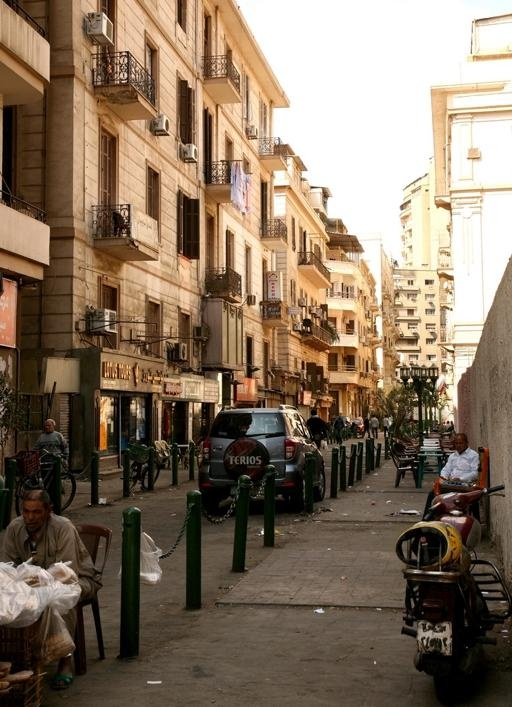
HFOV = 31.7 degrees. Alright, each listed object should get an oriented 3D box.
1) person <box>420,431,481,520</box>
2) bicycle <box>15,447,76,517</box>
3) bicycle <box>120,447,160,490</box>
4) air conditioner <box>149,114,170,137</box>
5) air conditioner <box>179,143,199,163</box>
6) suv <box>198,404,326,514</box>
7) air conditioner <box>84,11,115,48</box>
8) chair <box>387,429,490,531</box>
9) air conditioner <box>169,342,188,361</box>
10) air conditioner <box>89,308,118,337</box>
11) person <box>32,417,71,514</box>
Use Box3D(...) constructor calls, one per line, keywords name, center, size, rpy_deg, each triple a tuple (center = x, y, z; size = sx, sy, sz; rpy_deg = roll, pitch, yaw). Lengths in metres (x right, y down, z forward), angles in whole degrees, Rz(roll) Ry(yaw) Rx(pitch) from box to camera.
Box3D(name="person", center=(2.447, 1.619, 11.209), size=(0.613, 1.326, 0.443), rpy_deg=(13, -12, -29))
Box3D(name="bicycle", center=(-3.205, 1.976, 13.898), size=(1.419, 1.057, 0.664), rpy_deg=(-11, -20, 39))
Box3D(name="bicycle", center=(-2.343, 2.291, 18.177), size=(0.476, 0.904, 1.345), rpy_deg=(8, -1, 6))
Box3D(name="air conditioner", center=(-2.818, -6.748, 26.673), size=(0.397, 0.700, 0.875), rpy_deg=(0, -2, 4))
Box3D(name="air conditioner", center=(-2.228, -6.714, 30.236), size=(0.404, 0.713, 0.861), rpy_deg=(-1, -2, 10))
Box3D(name="suv", center=(0.104, 1.699, 14.806), size=(1.137, 1.313, 2.218), rpy_deg=(-1, -1, 13))
Box3D(name="air conditioner", center=(-3.813, -7.778, 21.876), size=(0.488, 0.791, 1.036), rpy_deg=(-1, -7, 7))
Box3D(name="chair", center=(2.223, 1.585, 10.600), size=(0.920, 1.248, 1.609), rpy_deg=(2, 2, 11))
Box3D(name="air conditioner", center=(-2.503, -0.022, 28.772), size=(0.364, 0.581, 0.751), rpy_deg=(-2, -6, 10))
Box3D(name="air conditioner", center=(-3.714, -0.572, 21.881), size=(0.429, 0.732, 0.915), rpy_deg=(-1, -6, 7))
Box3D(name="person", center=(-3.611, 1.941, 15.854), size=(0.602, 1.569, 0.409), rpy_deg=(-3, 14, -21))
